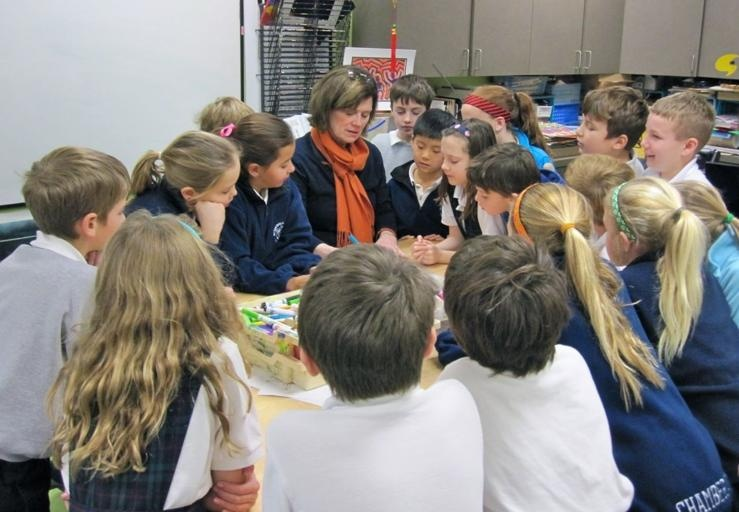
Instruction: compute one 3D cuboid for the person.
[{"bbox_3d":[-0.017,0.088,2.045,1.463,0.323,1.262,5,34,10],"label":"person"}]
